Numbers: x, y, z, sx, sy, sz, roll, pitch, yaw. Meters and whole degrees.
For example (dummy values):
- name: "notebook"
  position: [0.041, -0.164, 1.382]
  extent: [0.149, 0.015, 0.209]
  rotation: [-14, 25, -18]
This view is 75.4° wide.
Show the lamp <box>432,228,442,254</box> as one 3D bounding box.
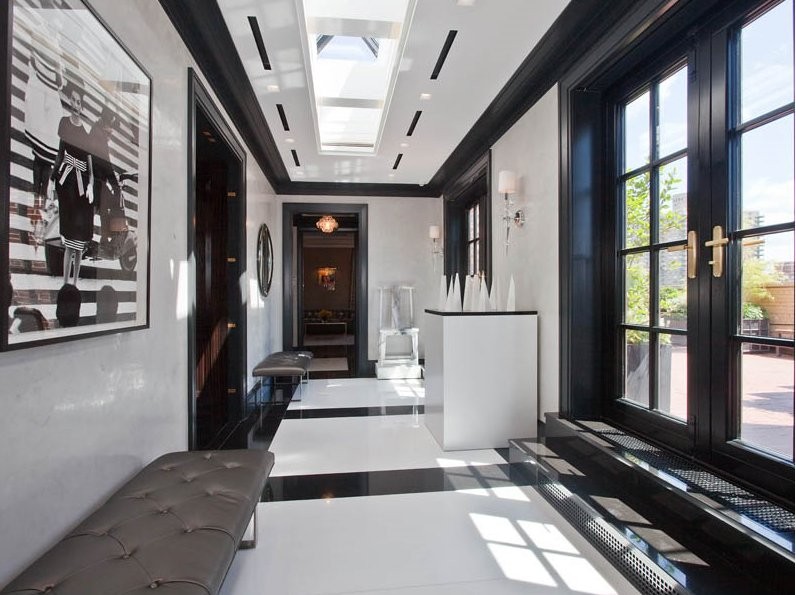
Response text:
- name: "lamp"
  position: [0.589, -0.876, 7.845]
  extent: [0.147, 0.434, 0.405]
  rotation: [1, 8, 5]

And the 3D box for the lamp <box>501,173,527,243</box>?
- name: "lamp"
  position: [1.043, -0.856, 4.913]
  extent: [0.236, 0.647, 0.548]
  rotation: [0, 8, -1]

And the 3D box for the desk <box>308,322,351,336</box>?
- name: "desk"
  position: [-1.936, 0.823, 14.048]
  extent: [1.122, 0.328, 0.382]
  rotation: [1, -9, -9]

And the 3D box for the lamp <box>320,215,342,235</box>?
- name: "lamp"
  position: [-1.208, -1.332, 9.173]
  extent: [0.349, 0.282, 0.653]
  rotation: [-1, 8, -9]

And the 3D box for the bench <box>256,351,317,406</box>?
- name: "bench"
  position: [-1.315, 0.921, 6.137]
  extent: [0.601, 0.549, 1.347]
  rotation: [-2, 9, -10]
